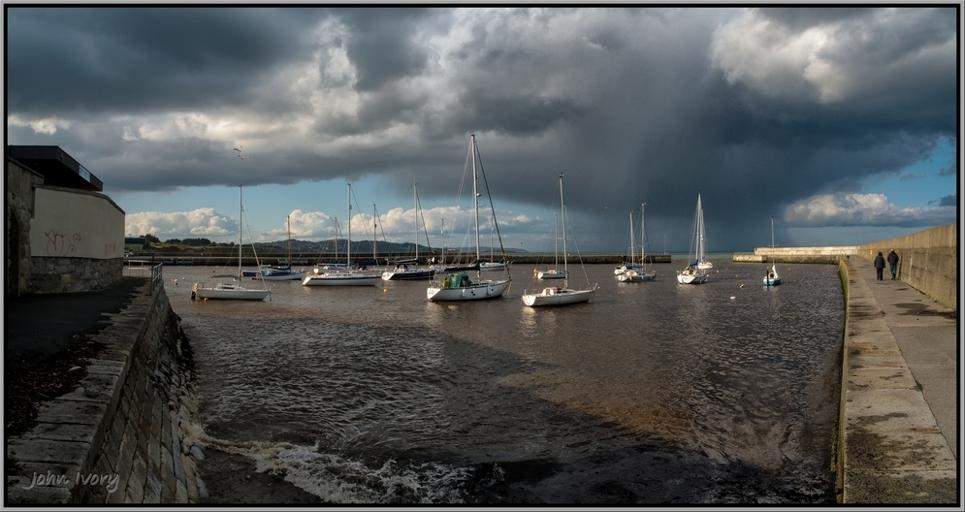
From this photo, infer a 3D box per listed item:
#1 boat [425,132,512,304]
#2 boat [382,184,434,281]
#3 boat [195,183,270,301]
[{"bbox_3d":[-1.378,1.141,59.186,9.148,15.152,8.617,0,-2,-30],"label":"boat"},{"bbox_3d":[-10.807,1.069,87.814,8.559,13.273,7.417,0,-1,-9],"label":"boat"},{"bbox_3d":[-34.334,1.856,81.892,6.736,11.091,12.753,2,-3,-43],"label":"boat"}]
